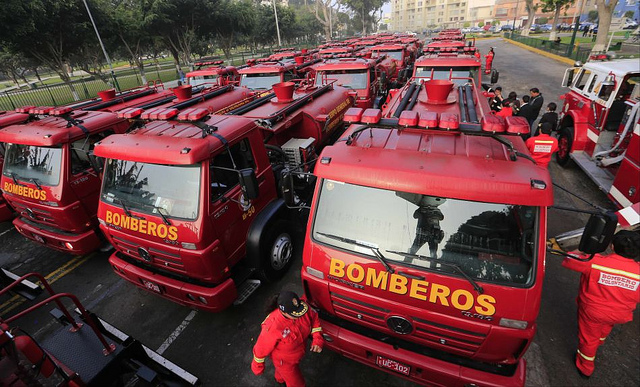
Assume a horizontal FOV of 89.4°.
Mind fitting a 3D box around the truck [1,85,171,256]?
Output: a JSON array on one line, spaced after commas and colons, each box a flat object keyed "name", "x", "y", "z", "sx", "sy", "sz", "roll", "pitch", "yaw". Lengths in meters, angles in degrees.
[{"name": "truck", "x": -6.543, "y": -1.217, "z": 10.276, "sx": 3.924, "sy": 3.390, "sz": 5.883, "roll": 12, "pitch": 25, "yaw": 17}]

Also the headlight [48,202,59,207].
[{"name": "headlight", "x": -6.333, "y": 0.258, "z": 7.643, "sx": 0.140, "sy": 0.116, "sz": 0.032, "roll": 1, "pitch": 7, "yaw": 14}]

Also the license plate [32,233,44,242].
[{"name": "license plate", "x": -7.175, "y": 1.129, "z": 8.178, "sx": 0.182, "sy": 0.239, "sz": 0.088, "roll": 22, "pitch": 68, "yaw": 30}]

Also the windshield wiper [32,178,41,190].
[{"name": "windshield wiper", "x": -6.755, "y": -0.237, "z": 7.667, "sx": 0.079, "sy": 0.315, "sz": 0.066, "roll": -33, "pitch": -2, "yaw": 28}]

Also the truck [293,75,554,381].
[{"name": "truck", "x": 2.297, "y": 0.108, "z": 7.158, "sx": 3.792, "sy": 3.517, "sz": 6.108, "roll": 9, "pitch": 32, "yaw": 22}]

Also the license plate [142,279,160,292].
[{"name": "license plate", "x": -3.512, "y": 1.889, "z": 6.694, "sx": 0.356, "sy": 0.225, "sz": 0.019, "roll": 18, "pitch": 43, "yaw": 16}]

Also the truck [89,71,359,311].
[{"name": "truck", "x": -2.050, "y": -1.116, "z": 10.303, "sx": 4.693, "sy": 3.932, "sz": 9.492, "roll": 6, "pitch": 26, "yaw": 19}]

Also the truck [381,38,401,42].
[{"name": "truck", "x": 5.214, "y": -11.185, "z": 23.897, "sx": 1.372, "sy": 0.126, "sz": 2.869, "roll": 1, "pitch": 31, "yaw": 10}]

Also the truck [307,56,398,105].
[{"name": "truck", "x": 1.713, "y": -4.621, "z": 13.934, "sx": 2.433, "sy": 1.740, "sz": 4.275, "roll": 9, "pitch": 34, "yaw": 22}]
